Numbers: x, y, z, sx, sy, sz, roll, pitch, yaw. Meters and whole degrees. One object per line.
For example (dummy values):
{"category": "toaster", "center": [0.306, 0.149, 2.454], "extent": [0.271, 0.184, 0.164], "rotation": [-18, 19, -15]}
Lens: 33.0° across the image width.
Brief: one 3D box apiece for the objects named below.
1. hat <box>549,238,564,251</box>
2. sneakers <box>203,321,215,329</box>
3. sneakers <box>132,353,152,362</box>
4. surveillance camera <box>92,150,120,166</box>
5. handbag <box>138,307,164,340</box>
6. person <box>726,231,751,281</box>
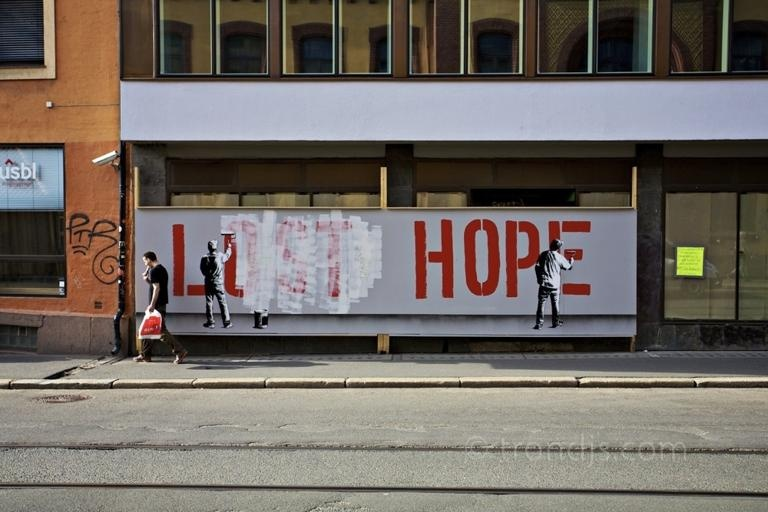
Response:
{"category": "hat", "center": [4.128, -0.241, 30.948], "extent": [0.233, 0.284, 0.306], "rotation": [-14, 12, -39]}
{"category": "sneakers", "center": [-4.184, 1.665, 31.020], "extent": [0.257, 0.240, 0.125], "rotation": [7, 5, 10]}
{"category": "sneakers", "center": [-5.685, 2.398, 30.388], "extent": [0.360, 0.150, 0.183], "rotation": [5, 4, 18]}
{"category": "surveillance camera", "center": [-6.694, -2.350, 31.110], "extent": [0.626, 0.377, 0.582], "rotation": [-1, 3, -12]}
{"category": "handbag", "center": [-5.399, 1.603, 30.019], "extent": [0.574, 0.705, 0.252], "rotation": [-1, 3, -10]}
{"category": "person", "center": [8.786, -0.017, 31.577], "extent": [0.284, 1.056, 0.794], "rotation": [6, -1, -14]}
